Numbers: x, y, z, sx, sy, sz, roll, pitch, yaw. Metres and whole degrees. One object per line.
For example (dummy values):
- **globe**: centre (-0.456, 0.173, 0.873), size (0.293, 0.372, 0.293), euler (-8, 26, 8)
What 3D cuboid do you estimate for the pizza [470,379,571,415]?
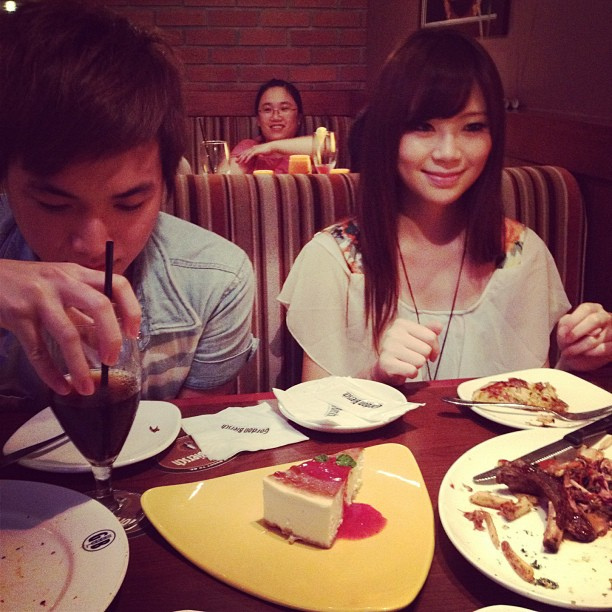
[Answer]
- **pizza**: centre (0.399, 0.166, 1.048), size (0.123, 0.025, 0.080), euler (0, 20, 2)

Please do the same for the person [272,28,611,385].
- **person**: centre (0.393, -0.257, 1.558), size (0.774, 1.044, 0.581), euler (-7, 28, -10)

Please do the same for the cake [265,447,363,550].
- **cake**: centre (0.019, 0.250, 0.741), size (0.066, 0.038, 0.125), euler (7, 17, 28)

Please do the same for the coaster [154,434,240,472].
- **coaster**: centre (-0.178, 0.210, 0.881), size (0.100, 0.028, 0.129), euler (7, 15, 20)

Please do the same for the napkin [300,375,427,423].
- **napkin**: centre (0.078, 0.145, 1.000), size (0.082, 0.022, 0.146), euler (-13, 17, -38)

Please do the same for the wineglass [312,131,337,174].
- **wineglass**: centre (0.090, -0.711, 2.723), size (0.118, 0.290, 0.114), euler (4, 26, 13)

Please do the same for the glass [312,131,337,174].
- **glass**: centre (0.088, -0.719, 2.721), size (0.117, 0.285, 0.110), euler (7, 34, 13)

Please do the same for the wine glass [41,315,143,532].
- **wine glass**: centre (-0.249, 0.138, 0.705), size (0.131, 0.259, 0.105), euler (12, 17, 32)
